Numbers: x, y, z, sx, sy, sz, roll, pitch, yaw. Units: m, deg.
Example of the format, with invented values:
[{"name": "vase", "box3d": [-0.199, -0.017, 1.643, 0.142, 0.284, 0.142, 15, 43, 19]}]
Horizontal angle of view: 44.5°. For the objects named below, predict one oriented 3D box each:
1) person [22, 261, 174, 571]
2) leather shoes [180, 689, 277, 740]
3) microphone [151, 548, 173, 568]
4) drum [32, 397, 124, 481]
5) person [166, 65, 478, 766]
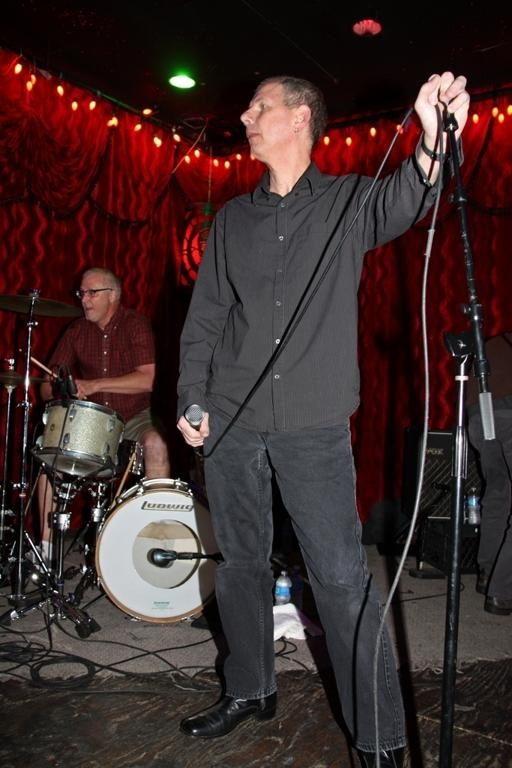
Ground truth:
[{"name": "person", "box3d": [-0.779, 0.141, 3.195, 0.773, 1.382, 0.796, 0, 13, 25]}, {"name": "leather shoes", "box3d": [-0.068, 0.837, 1.630, 0.275, 0.112, 0.096, -2, -7, -20]}, {"name": "microphone", "box3d": [-0.353, 0.650, 2.343, 0.087, 0.057, 0.054, 17, -24, -8]}, {"name": "drum", "box3d": [-0.718, 0.225, 2.481, 0.306, 0.204, 0.308, 3, -24, 1]}, {"name": "person", "box3d": [0.097, 0.159, 1.337, 0.319, 1.404, 0.777, 2, -3, -30]}]
